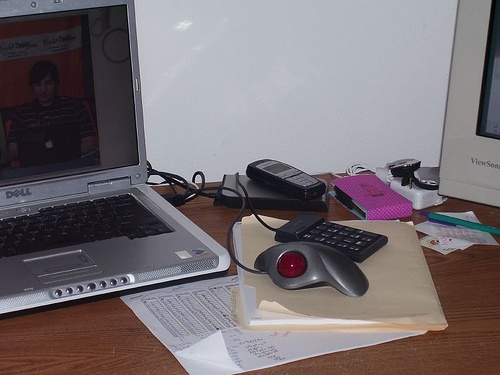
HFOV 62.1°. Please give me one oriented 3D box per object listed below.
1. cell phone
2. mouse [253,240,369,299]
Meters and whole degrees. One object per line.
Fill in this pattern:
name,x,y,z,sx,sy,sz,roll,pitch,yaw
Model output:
cell phone,0.078,-0.032,0.953,0.170,0.033,0.081,21,29,38
mouse,0.093,0.114,0.641,0.175,0.051,0.111,9,31,24
